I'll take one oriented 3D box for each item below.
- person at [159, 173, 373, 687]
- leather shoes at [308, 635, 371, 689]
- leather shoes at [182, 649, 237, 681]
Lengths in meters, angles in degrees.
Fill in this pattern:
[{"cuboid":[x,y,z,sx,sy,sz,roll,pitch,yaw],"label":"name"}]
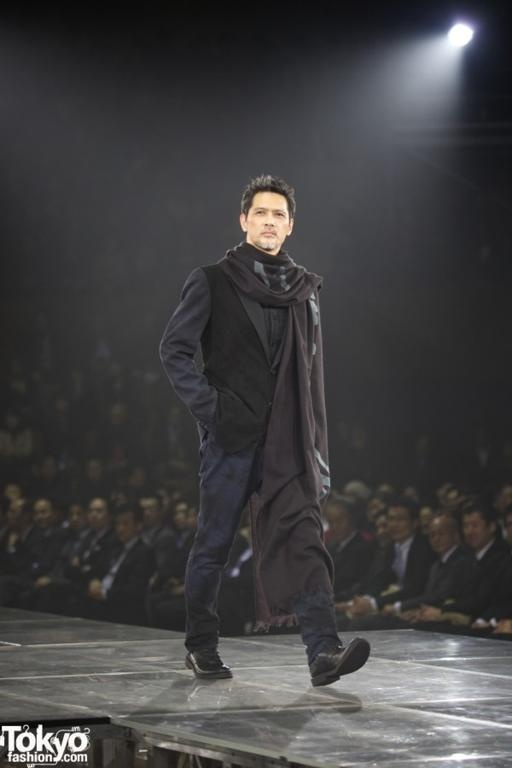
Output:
[{"cuboid":[-0.004,0.155,1.835,0.471,1.095,0.341,1,-9,-8],"label":"person"},{"cuboid":[0.187,0.619,1.680,0.072,0.072,0.188,17,-50,-45],"label":"leather shoes"},{"cuboid":[-0.113,0.679,1.805,0.078,0.049,0.114,4,-9,-25],"label":"leather shoes"}]
